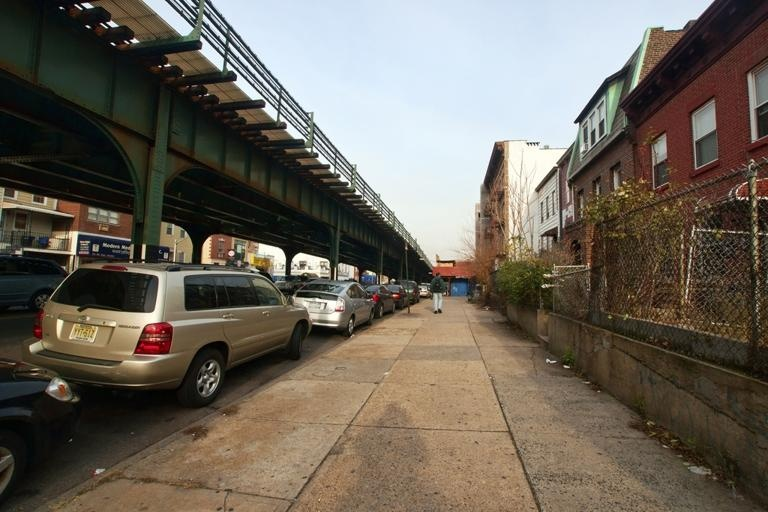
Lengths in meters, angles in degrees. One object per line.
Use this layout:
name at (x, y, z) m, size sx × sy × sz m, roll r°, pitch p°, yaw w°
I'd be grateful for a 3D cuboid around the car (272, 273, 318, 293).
car at (-5.421, 1.628, 30.471) m, size 1.010 × 0.866 × 2.433 m, roll -4°, pitch -11°, yaw 16°

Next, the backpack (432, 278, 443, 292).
backpack at (2.414, 1.327, 22.651) m, size 0.568 × 0.615 × 0.341 m, roll 2°, pitch -6°, yaw -3°

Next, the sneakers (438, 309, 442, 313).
sneakers at (2.589, 2.582, 23.381) m, size 0.120 × 0.154 × 0.376 m, roll 0°, pitch 2°, yaw 17°
